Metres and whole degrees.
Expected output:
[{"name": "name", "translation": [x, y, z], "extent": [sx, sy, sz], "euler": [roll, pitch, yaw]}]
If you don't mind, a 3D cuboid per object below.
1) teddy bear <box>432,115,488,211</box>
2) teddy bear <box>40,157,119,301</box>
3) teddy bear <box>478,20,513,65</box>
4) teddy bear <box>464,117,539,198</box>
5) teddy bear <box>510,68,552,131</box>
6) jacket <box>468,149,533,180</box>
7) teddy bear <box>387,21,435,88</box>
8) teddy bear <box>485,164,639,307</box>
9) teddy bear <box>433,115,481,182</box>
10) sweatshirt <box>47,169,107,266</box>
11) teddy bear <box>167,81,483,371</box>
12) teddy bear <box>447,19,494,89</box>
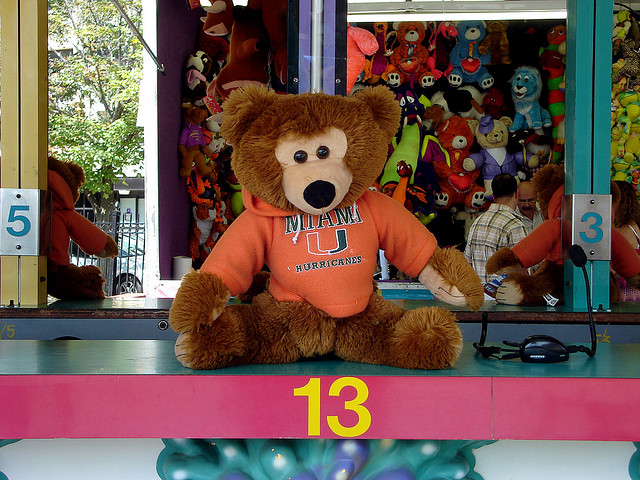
[{"name": "teddy bear", "translation": [1.237, -0.670, 5.992], "extent": [0.478, 0.816, 0.493], "euler": [17, 33, 36]}, {"name": "teddy bear", "translation": [-1.245, -0.070, 3.597], "extent": [0.334, 0.710, 0.732], "euler": [0, 3, -16]}, {"name": "teddy bear", "translation": [1.533, -1.720, 5.946], "extent": [0.302, 0.379, 0.118], "euler": [1, 3, 9]}, {"name": "teddy bear", "translation": [1.543, -0.687, 5.898], "extent": [0.599, 0.756, 0.457], "euler": [-8, 15, 18]}, {"name": "teddy bear", "translation": [1.791, -1.212, 5.880], "extent": [0.396, 0.539, 0.373], "euler": [-6, 13, -15]}, {"name": "jacket", "translation": [1.568, -0.643, 5.930], "extent": [0.310, 0.256, 0.493], "euler": [-3, 5, -39]}, {"name": "teddy bear", "translation": [0.813, -1.641, 6.032], "extent": [0.400, 0.574, 0.115], "euler": [1, 3, 8]}, {"name": "teddy bear", "translation": [1.240, -0.009, 3.496], "extent": [0.818, 0.808, 0.456], "euler": [-1, 16, 1]}, {"name": "teddy bear", "translation": [1.198, -0.822, 6.122], "extent": [0.355, 0.597, 0.274], "euler": [0, 8, 4]}, {"name": "sweatshirt", "translation": [-1.265, -0.112, 3.507], "extent": [0.115, 0.473, 0.418], "euler": [1, 3, 16]}, {"name": "teddy bear", "translation": [0.037, -0.032, 2.167], "extent": [0.925, 0.895, 0.460], "euler": [-1, 14, 2]}, {"name": "teddy bear", "translation": [1.317, -1.643, 5.950], "extent": [0.381, 0.575, 0.360], "euler": [-5, 28, -2]}]
